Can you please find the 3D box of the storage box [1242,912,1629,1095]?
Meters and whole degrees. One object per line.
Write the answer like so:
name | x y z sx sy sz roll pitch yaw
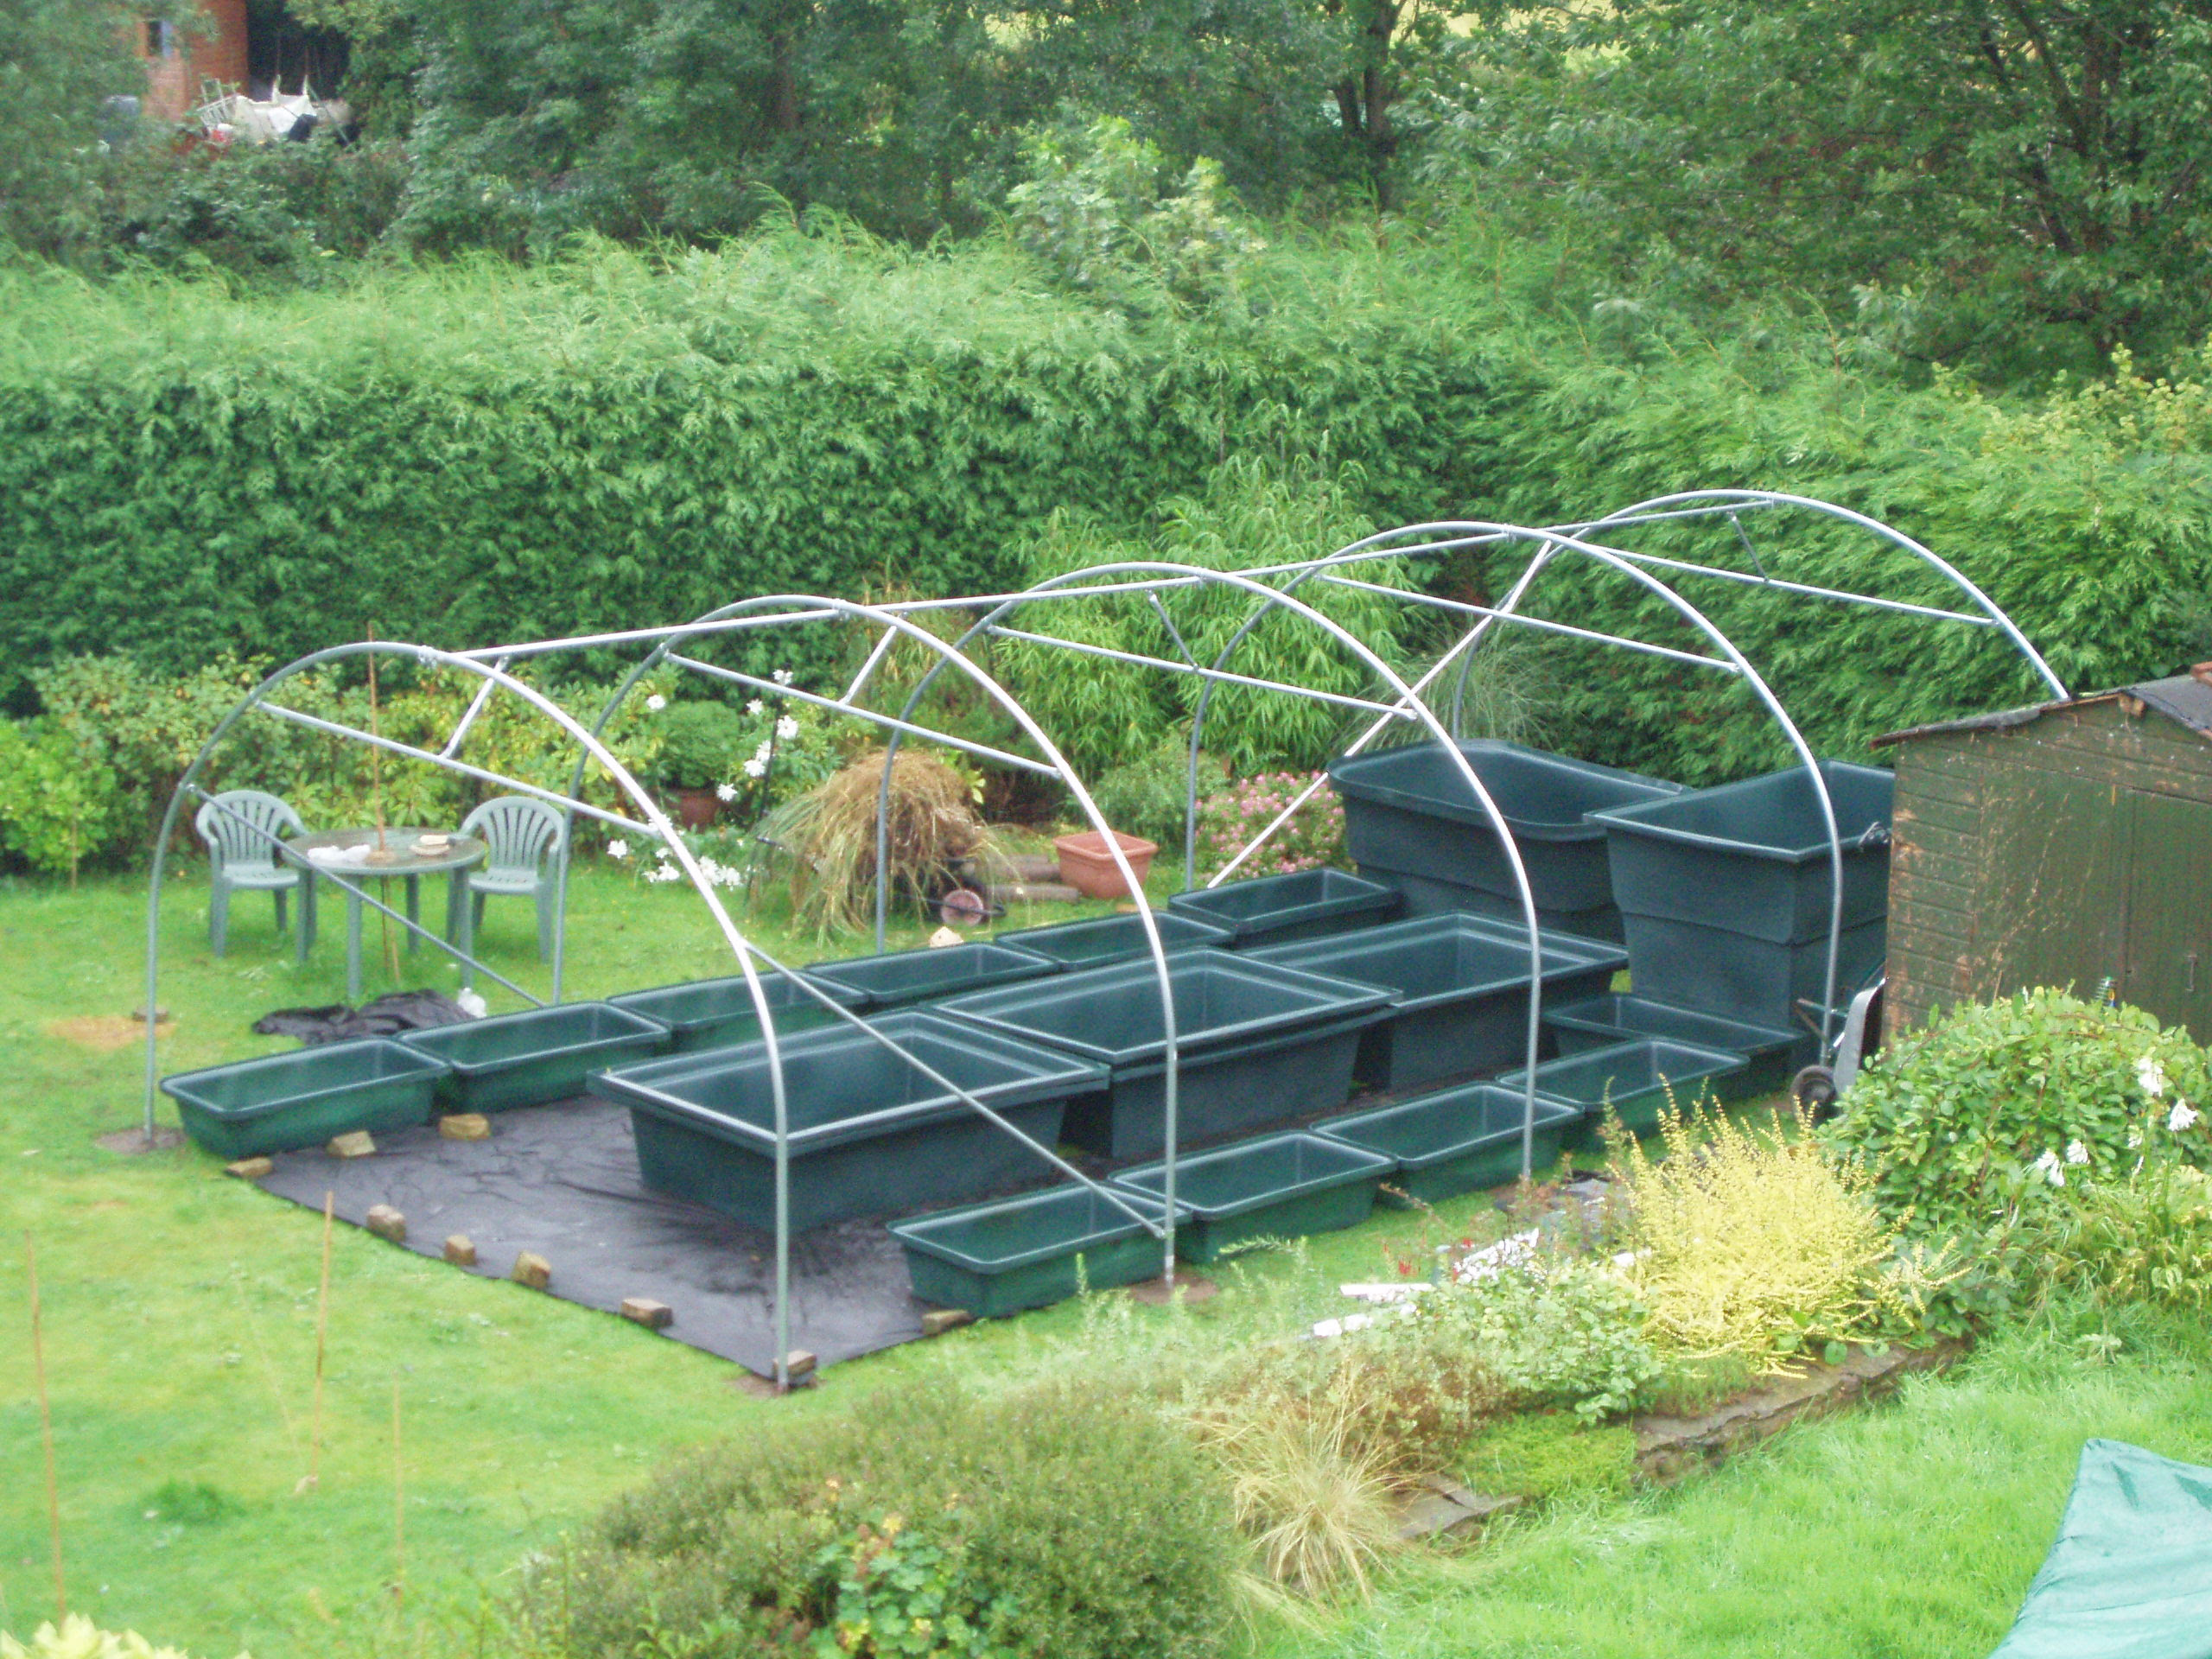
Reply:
storage box | 1.972 0.938 20.103 1.590 0.531 1.084 -9 17 -36

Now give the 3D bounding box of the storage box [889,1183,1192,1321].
storage box | -0.340 2.125 17.756 1.044 0.328 0.676 -8 13 -38

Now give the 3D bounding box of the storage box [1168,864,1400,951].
storage box | 1.123 0.455 21.044 0.931 0.324 0.607 -8 14 -34

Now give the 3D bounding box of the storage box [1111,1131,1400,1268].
storage box | 0.860 1.889 18.212 1.041 0.327 0.687 -11 17 -35

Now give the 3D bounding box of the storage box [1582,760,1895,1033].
storage box | 3.707 0.392 19.921 1.685 1.066 1.288 -11 13 -40

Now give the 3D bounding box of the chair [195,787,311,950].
chair | -5.229 0.223 21.503 0.834 0.765 0.865 8 14 6

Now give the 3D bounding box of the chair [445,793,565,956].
chair | -3.639 0.277 21.526 0.668 0.870 0.646 2 8 -21

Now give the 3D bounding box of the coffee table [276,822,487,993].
coffee table | -4.373 0.459 21.143 1.123 0.731 1.091 -17 33 -41

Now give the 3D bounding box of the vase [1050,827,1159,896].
vase | 0.011 0.185 22.890 0.418 0.280 0.502 -7 19 -31

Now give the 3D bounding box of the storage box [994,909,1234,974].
storage box | 0.011 0.660 20.465 0.806 0.307 0.531 -9 18 -29

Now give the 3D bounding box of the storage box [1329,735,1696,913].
storage box | 2.268 -0.009 21.190 1.134 0.685 1.499 -13 23 -38

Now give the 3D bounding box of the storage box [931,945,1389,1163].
storage box | 0.468 1.430 19.166 1.770 0.586 1.214 -8 14 -40
